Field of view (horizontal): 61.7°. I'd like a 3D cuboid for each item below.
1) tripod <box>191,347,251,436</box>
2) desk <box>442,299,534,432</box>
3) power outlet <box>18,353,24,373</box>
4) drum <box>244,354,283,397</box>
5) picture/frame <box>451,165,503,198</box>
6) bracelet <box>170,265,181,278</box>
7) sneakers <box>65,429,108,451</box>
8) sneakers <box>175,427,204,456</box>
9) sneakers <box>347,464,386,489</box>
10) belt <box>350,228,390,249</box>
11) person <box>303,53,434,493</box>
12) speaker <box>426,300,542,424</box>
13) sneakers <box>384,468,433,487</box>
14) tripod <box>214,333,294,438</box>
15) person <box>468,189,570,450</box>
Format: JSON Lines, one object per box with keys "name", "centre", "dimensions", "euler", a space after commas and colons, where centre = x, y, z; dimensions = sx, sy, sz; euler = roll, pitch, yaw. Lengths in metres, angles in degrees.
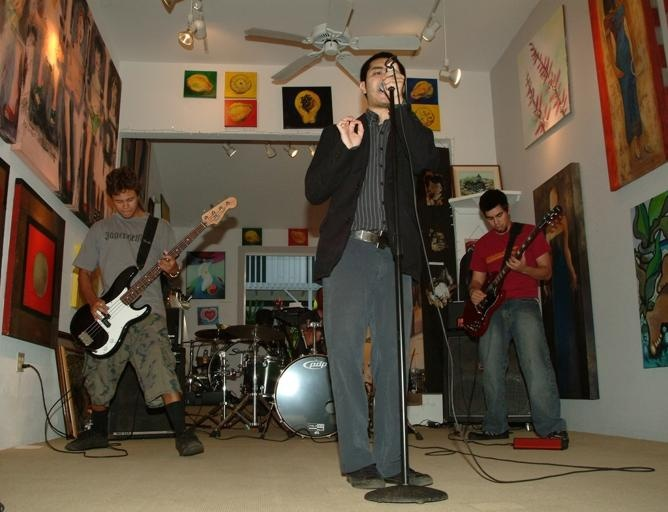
{"name": "tripod", "centre": [-1.072, 1.337, 5.483], "dimensions": [0.565, 0.793, 0.618], "euler": [-2, 2, -8]}
{"name": "desk", "centre": [1.281, 1.056, 5.036], "dimensions": [0.435, 0.846, 0.577], "euler": [-1, -11, -9]}
{"name": "power outlet", "centre": [-2.285, 0.775, 4.097], "dimensions": [0.024, 0.142, 0.107], "euler": [0, -14, -12]}
{"name": "drum", "centre": [-0.660, 1.097, 5.311], "dimensions": [0.326, 0.371, 0.321], "euler": [10, 21, -39]}
{"name": "picture/frame", "centre": [1.601, -0.822, 6.265], "dimensions": [0.492, 0.519, 0.043], "euler": [-1, -19, -2]}
{"name": "bracelet", "centre": [-1.135, 0.114, 4.011], "dimensions": [0.069, 0.065, 0.077], "euler": [-1, -6, -2]}
{"name": "sneakers", "centre": [-1.670, 1.264, 3.796], "dimensions": [0.230, 0.120, 0.126], "euler": [6, -5, -27]}
{"name": "sneakers", "centre": [-0.926, 1.199, 3.600], "dimensions": [0.175, 0.167, 0.155], "euler": [1, -15, -17]}
{"name": "sneakers", "centre": [0.156, 1.028, 2.596], "dimensions": [0.074, 0.088, 0.183], "euler": [7, -20, -24]}
{"name": "belt", "centre": [0.191, -0.092, 2.761], "dimensions": [0.106, 0.057, 0.116], "euler": [18, -1, -30]}
{"name": "person", "centre": [0.183, 0.013, 2.731], "dimensions": [0.651, 2.147, 0.503], "euler": [-5, -13, 12]}
{"name": "speaker", "centre": [1.420, 0.750, 4.965], "dimensions": [0.879, 0.907, 1.400], "euler": [0, -47, 23]}
{"name": "sneakers", "centre": [0.346, 1.024, 2.569], "dimensions": [0.224, 0.092, 0.286], "euler": [-5, -15, 5]}
{"name": "tripod", "centre": [-0.739, 1.168, 5.214], "dimensions": [0.717, 0.927, 0.693], "euler": [6, -10, -36]}
{"name": "person", "centre": [1.341, 0.431, 4.294], "dimensions": [0.728, 1.951, 0.513], "euler": [-14, -17, 39]}
